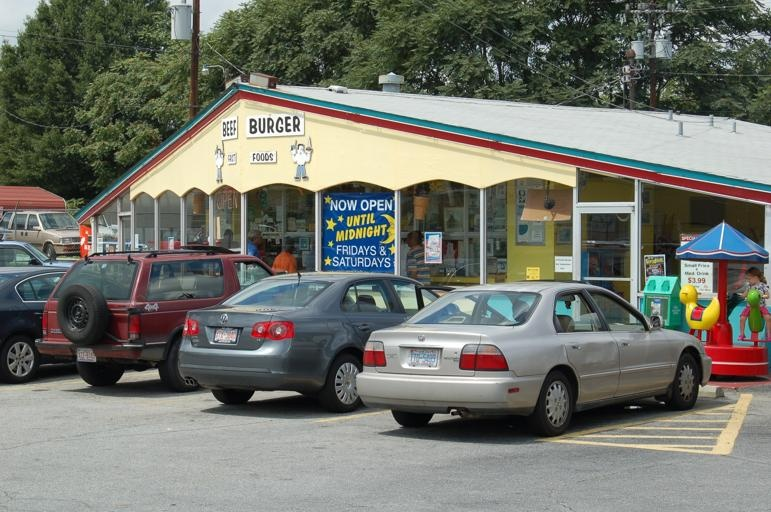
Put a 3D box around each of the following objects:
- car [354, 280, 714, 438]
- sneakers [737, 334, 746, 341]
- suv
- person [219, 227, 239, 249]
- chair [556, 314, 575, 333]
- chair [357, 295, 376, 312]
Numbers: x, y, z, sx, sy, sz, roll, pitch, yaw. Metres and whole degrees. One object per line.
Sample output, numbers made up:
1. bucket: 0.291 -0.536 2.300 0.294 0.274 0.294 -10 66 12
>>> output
1. car: 2.332 1.208 11.726 4.351 1.320 2.001 -4 2 -42
2. sneakers: 7.076 1.630 16.479 0.128 0.130 0.341 0 -4 33
3. suv: -4.078 0.918 14.880 2.077 1.773 4.248 2 6 36
4. person: -4.551 -0.482 24.305 0.179 0.495 0.952 1 -1 -39
5. chair: 2.450 0.932 11.290 0.254 0.223 0.235 0 -22 -6
6. chair: -0.292 0.777 13.276 0.344 0.247 0.475 -1 -9 11
